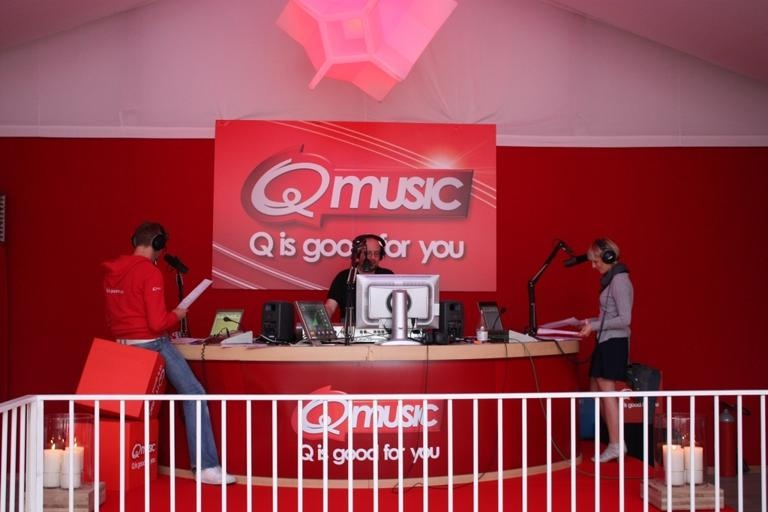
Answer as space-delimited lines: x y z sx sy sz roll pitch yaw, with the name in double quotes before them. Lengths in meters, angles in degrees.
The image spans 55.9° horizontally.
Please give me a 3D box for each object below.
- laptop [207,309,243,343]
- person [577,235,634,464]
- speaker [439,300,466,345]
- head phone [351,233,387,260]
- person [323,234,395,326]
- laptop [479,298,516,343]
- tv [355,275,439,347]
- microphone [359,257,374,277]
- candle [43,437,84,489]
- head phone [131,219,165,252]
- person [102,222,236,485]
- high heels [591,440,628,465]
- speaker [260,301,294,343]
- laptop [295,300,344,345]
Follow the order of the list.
"laptop" -1.433 0.631 6.460 0.279 0.248 0.214 4 10 14
"person" 2.027 0.864 6.622 0.451 2.033 0.670 -1 -7 21
"speaker" 0.555 0.581 6.289 0.188 0.352 0.372 -2 -7 26
"head phone" -0.136 -0.099 6.682 0.261 0.212 0.194 13 -13 -2
"person" -0.253 0.250 6.703 0.768 1.163 0.565 1 -4 -3
"laptop" 0.943 0.593 6.434 0.234 0.470 0.323 1 -9 -14
"tv" 0.082 0.479 6.146 0.522 0.472 0.180 1 1 -3
"microphone" -0.163 0.108 6.921 0.120 0.165 0.165 3 -12 0
"candle" -2.533 1.651 5.712 0.305 0.377 0.138 2 -7 -10
"head phone" -2.008 -0.167 6.272 0.211 0.223 0.279 11 -30 -3
"person" -1.878 0.816 6.158 1.070 2.203 0.450 0 -7 13
"high heels" 2.008 1.803 6.579 0.215 0.183 0.270 0 -7 10
"speaker" -0.908 0.586 6.191 0.240 0.455 0.351 -4 -7 41
"laptop" -0.565 0.555 6.095 0.085 0.357 0.335 -28 -18 33
